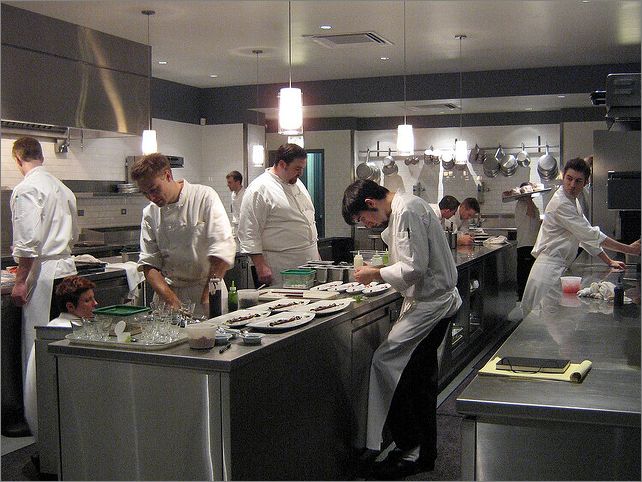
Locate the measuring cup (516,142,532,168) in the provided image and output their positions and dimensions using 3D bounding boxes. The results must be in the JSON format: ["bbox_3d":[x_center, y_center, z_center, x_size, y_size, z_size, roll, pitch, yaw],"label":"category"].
[{"bbox_3d":[4.088,-1.724,10.287,0.309,0.444,0.176,-6,-10,36],"label":"measuring cup"}]

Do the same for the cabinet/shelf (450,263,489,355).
[{"bbox_3d":[1.707,0.623,5.628,0.293,0.726,0.778,10,-9,-5],"label":"cabinet/shelf"}]

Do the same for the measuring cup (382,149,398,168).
[{"bbox_3d":[1.483,-1.732,11.110,0.372,0.383,0.132,-8,11,23],"label":"measuring cup"}]

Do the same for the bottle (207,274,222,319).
[{"bbox_3d":[-0.628,0.339,3.013,0.082,0.235,0.144,-3,5,-13],"label":"bottle"}]

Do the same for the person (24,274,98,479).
[{"bbox_3d":[-1.693,0.865,3.342,0.473,1.248,0.994,-5,5,-31],"label":"person"}]

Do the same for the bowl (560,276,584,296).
[{"bbox_3d":[1.873,0.337,3.820,0.130,0.096,0.132,1,3,0],"label":"bowl"}]

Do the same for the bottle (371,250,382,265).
[{"bbox_3d":[0.449,0.140,4.259,0.096,0.111,0.098,6,9,37],"label":"bottle"}]

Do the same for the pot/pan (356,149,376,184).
[{"bbox_3d":[0.993,-1.662,11.192,0.429,0.666,0.463,-3,5,-18],"label":"pot/pan"}]

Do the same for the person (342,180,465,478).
[{"bbox_3d":[0.551,0.548,3.175,0.717,1.855,0.409,-4,5,-26],"label":"person"}]

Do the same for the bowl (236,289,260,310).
[{"bbox_3d":[-0.461,0.370,3.233,0.110,0.076,0.109,0,5,0],"label":"bowl"}]

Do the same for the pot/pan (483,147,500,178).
[{"bbox_3d":[3.500,-1.626,10.495,0.324,0.492,0.170,-12,-22,24],"label":"pot/pan"}]

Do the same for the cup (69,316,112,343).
[{"bbox_3d":[-1.085,0.414,2.395,0.119,0.087,0.140,0,-8,-1],"label":"cup"}]

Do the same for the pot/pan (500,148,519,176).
[{"bbox_3d":[3.858,-1.558,10.428,0.348,0.462,0.213,0,5,23],"label":"pot/pan"}]

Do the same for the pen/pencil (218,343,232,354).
[{"bbox_3d":[-0.435,0.485,2.294,0.016,0.019,0.054,-14,11,34],"label":"pen/pencil"}]

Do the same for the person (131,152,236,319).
[{"bbox_3d":[-0.906,-0.057,3.391,0.624,1.007,0.528,-3,5,-19],"label":"person"}]

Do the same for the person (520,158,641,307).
[{"bbox_3d":[2.267,-0.050,4.634,0.759,1.378,0.562,-2,5,6],"label":"person"}]

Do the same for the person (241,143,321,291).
[{"bbox_3d":[-0.309,-0.216,4.141,0.712,1.147,0.495,-4,5,-25],"label":"person"}]

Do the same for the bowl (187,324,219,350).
[{"bbox_3d":[-0.544,0.428,2.319,0.110,0.072,0.112,0,-2,0],"label":"bowl"}]
